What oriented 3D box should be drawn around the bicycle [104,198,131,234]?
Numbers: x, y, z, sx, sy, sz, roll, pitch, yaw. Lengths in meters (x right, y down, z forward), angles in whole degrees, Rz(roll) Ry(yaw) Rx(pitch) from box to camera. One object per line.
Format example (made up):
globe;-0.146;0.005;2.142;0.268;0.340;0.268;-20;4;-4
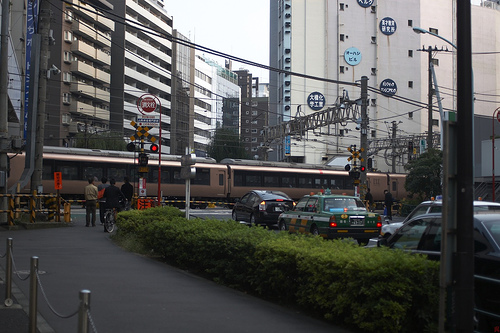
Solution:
bicycle;-5.846;2.176;27.928;0.727;1.617;0.712;1;-2;-23
